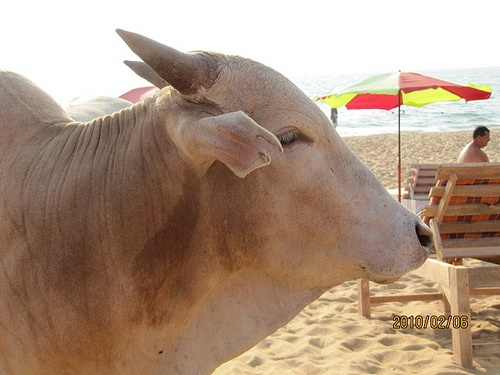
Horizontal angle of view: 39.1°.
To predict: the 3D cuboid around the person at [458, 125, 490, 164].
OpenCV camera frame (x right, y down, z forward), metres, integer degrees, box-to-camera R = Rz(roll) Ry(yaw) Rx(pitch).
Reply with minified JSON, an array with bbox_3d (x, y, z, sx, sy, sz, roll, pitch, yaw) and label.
[{"bbox_3d":[3.067,-0.579,9.691,0.394,0.492,0.786,-2,12,16],"label":"person"}]
